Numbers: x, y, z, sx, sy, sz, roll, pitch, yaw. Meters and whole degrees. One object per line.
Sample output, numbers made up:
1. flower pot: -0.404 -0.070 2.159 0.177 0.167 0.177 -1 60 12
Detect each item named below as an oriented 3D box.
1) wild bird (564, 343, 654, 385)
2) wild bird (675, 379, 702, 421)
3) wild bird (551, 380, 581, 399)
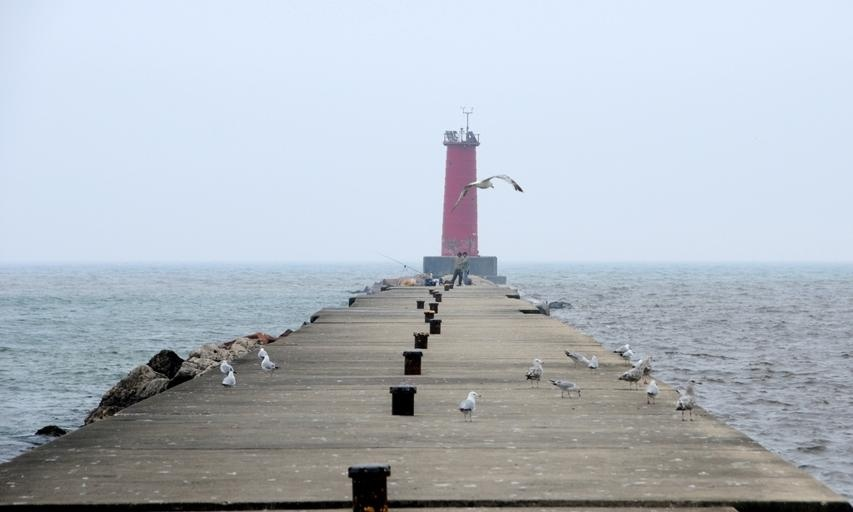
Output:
1. wild bird: 5.427 3.253 36.005 1.649 0.791 2.604 -1 1 -43
2. wild bird: 7.008 3.975 33.446 0.545 1.011 1.581 -7 -6 26
3. wild bird: 3.868 3.745 34.483 0.861 0.453 0.834 0 1 6
